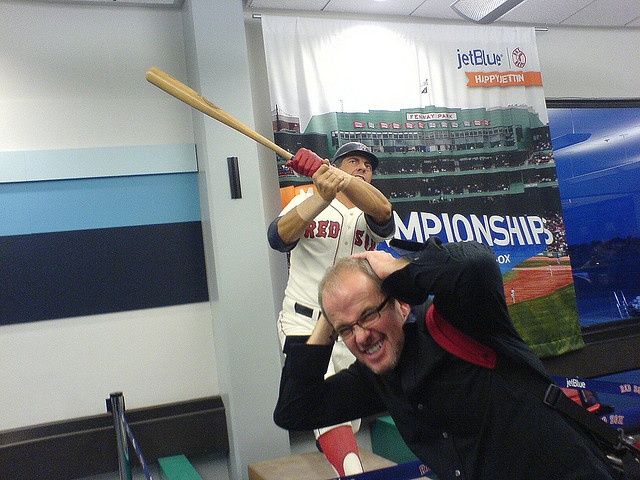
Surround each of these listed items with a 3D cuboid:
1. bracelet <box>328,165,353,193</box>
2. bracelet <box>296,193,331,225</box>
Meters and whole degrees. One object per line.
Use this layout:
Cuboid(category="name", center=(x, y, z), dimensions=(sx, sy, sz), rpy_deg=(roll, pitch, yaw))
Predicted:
Cuboid(category="bracelet", center=(0.119, -0.317, 2.601), dimensions=(0.063, 0.125, 0.093), rpy_deg=(-49, -11, 18))
Cuboid(category="bracelet", center=(-0.039, -0.171, 2.669), dimensions=(0.184, 0.112, 0.073), rpy_deg=(-44, -11, 21))
